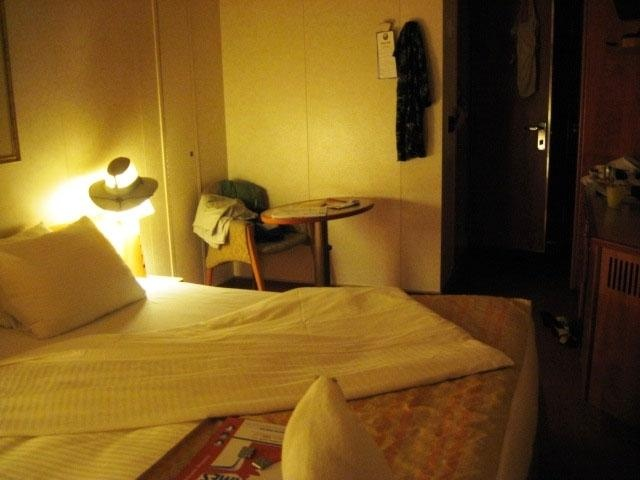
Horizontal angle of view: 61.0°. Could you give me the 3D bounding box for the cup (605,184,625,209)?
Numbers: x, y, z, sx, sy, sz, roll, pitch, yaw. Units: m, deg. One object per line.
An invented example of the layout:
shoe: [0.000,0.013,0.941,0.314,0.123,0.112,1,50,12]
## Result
cup: [1.630,-0.244,3.012,0.086,0.121,0.047,5,16,40]

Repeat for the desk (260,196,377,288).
desk: [-0.049,-0.134,4.207,0.705,0.880,0.688,-18,15,-24]
